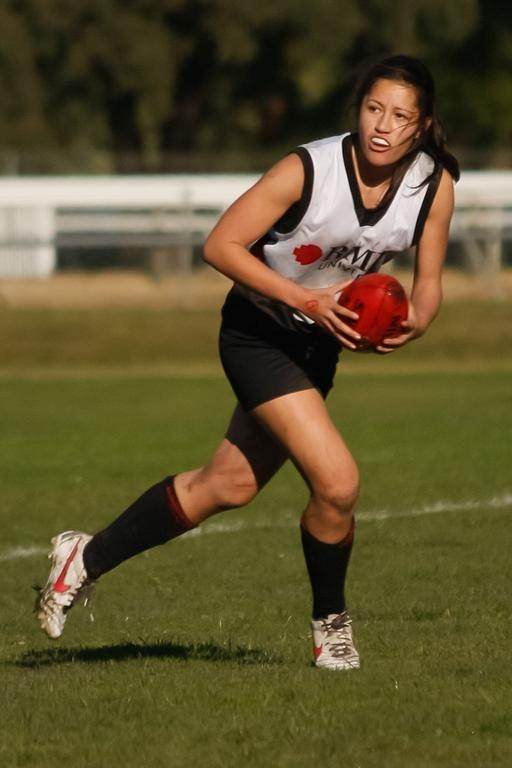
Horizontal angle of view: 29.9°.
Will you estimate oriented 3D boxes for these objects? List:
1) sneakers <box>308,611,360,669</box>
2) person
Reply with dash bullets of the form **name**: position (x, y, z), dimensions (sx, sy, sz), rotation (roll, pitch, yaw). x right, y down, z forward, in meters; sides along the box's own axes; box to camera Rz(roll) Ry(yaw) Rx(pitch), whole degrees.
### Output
- **sneakers**: position (0.219, 0.724, 2.697), dimensions (0.121, 0.108, 0.284), rotation (1, 3, -11)
- **person**: position (0.020, -0.045, 2.667), dimensions (1.063, 1.654, 0.475), rotation (0, 4, 9)
